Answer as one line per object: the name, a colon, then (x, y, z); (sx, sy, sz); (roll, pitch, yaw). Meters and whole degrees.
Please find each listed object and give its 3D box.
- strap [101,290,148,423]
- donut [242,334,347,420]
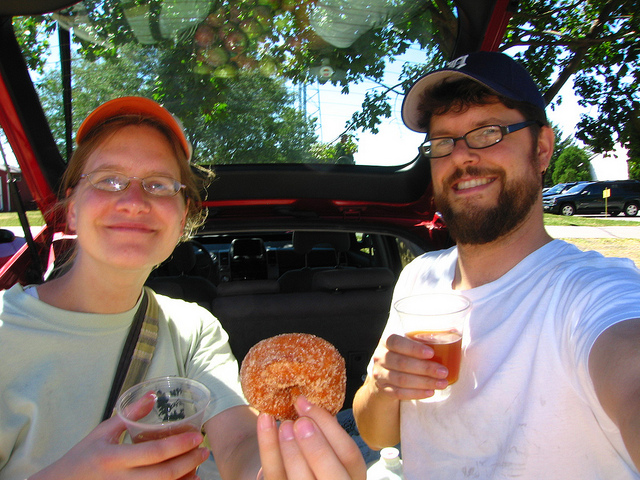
strap: (-0.896, 0.513, 2.139); (0.074, 0.655, 0.030); (18, -33, -5)
donut: (-0.121, 0.595, 2.003); (0.363, 0.381, 0.090); (-41, -6, 10)
